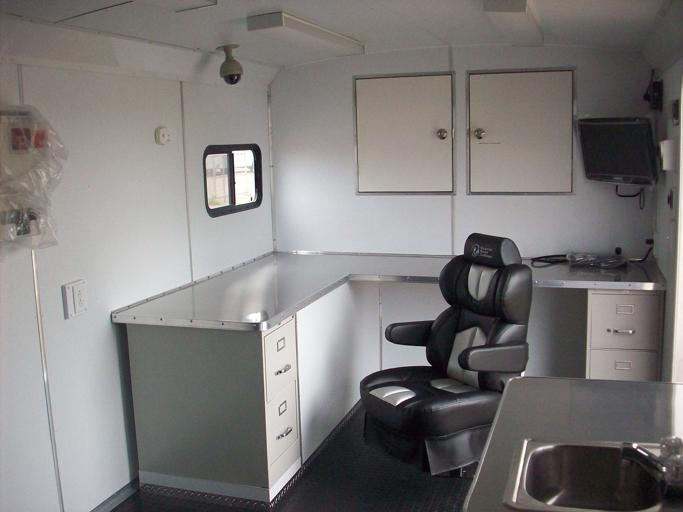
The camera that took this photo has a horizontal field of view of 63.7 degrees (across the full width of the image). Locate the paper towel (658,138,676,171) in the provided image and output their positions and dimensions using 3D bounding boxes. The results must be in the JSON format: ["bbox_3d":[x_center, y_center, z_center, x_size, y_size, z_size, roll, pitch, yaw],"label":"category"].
[{"bbox_3d":[1.827,-0.566,3.066,0.071,0.159,0.076,6,14,32],"label":"paper towel"}]

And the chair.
[{"bbox_3d":[0.585,0.519,3.154,0.827,1.239,0.839,2,4,-5],"label":"chair"}]

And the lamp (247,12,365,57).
[{"bbox_3d":[-0.208,-1.322,3.297,0.244,0.089,1.049,4,13,26],"label":"lamp"}]

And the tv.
[{"bbox_3d":[1.723,-0.644,3.484,0.572,0.442,0.091,-2,-7,-19],"label":"tv"}]

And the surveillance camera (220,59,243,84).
[{"bbox_3d":[-0.665,-1.109,3.299,0.119,0.136,0.101,-4,12,-12],"label":"surveillance camera"}]
